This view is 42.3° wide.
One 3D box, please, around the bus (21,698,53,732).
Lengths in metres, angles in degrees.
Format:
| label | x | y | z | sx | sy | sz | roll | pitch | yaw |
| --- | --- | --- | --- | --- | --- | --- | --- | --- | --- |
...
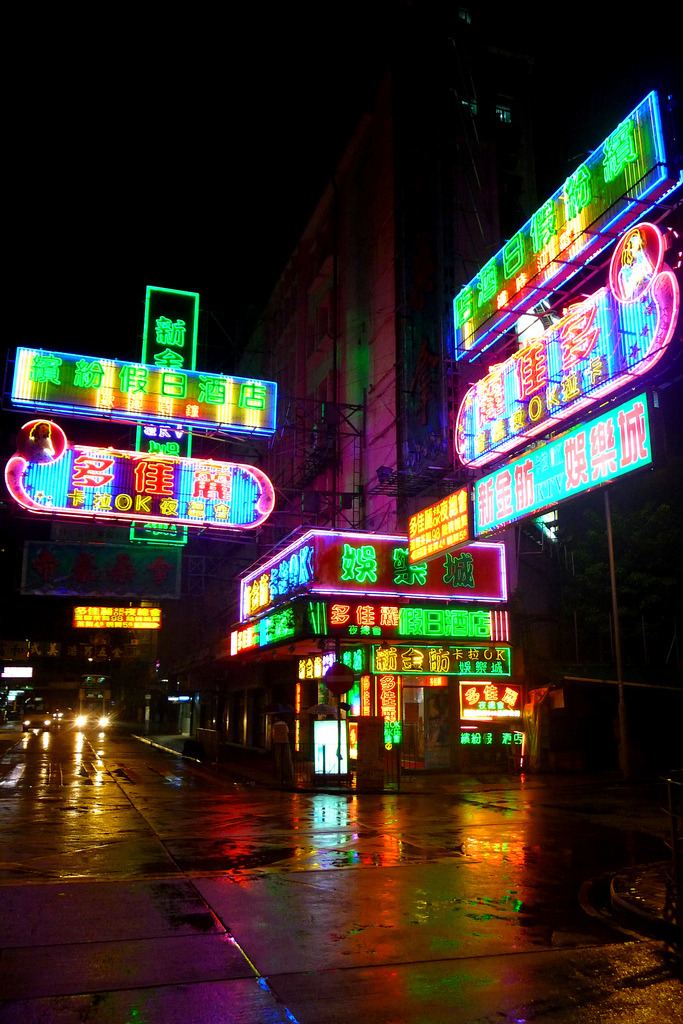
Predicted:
| label | x | y | z | sx | sy | sz | roll | pitch | yaw |
| --- | --- | --- | --- | --- | --- | --- | --- | --- | --- |
| bus | -25.644 | 16.834 | 73.159 | 2.722 | 2.876 | 5.257 | 4 | -21 | -17 |
